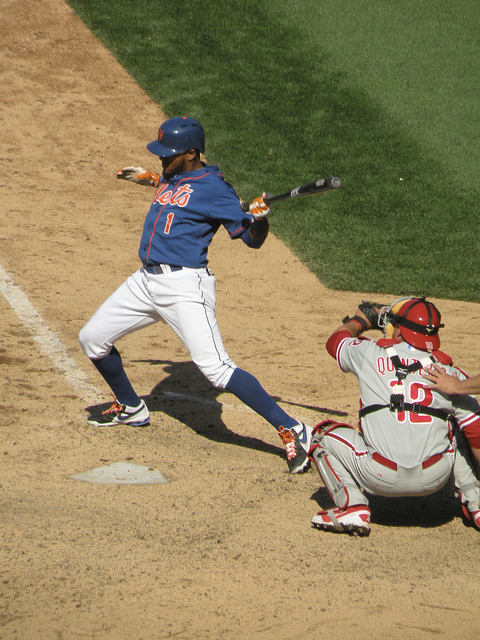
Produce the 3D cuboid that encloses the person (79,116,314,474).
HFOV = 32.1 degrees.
[{"bbox_3d":[-0.309,-0.073,4.579,0.593,1.848,1.398,-10,39,-44],"label":"person"}]

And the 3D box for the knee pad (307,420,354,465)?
[{"bbox_3d":[0.475,0.632,4.514,0.190,0.252,0.107,27,7,-11],"label":"knee pad"}]

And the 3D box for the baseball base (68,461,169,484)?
[{"bbox_3d":[-0.661,0.821,4.536,0.501,0.071,0.226,10,25,-11],"label":"baseball base"}]

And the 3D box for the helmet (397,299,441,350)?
[{"bbox_3d":[0.915,0.020,4.266,0.271,0.202,0.118,33,30,28],"label":"helmet"}]
